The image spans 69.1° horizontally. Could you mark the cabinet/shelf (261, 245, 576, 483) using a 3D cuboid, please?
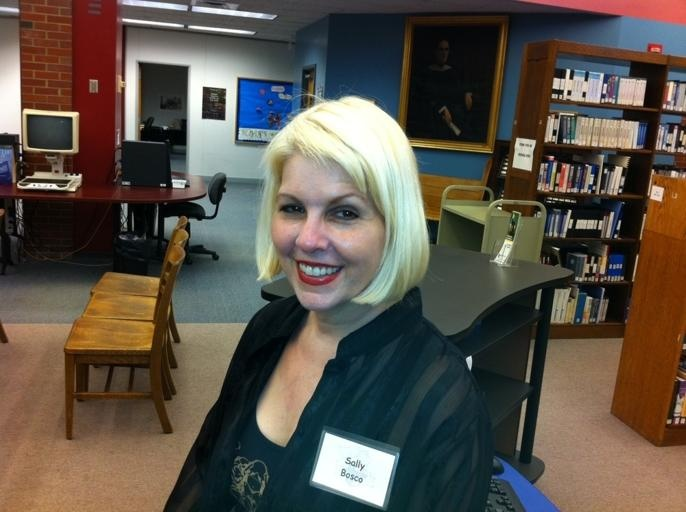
[{"bbox_3d":[0.454,0.751,3.071,1.343,1.460,1.643,12,20,38],"label":"cabinet/shelf"}]

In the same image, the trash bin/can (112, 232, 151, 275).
[{"bbox_3d":[-2.274,-0.041,5.600,0.419,0.458,0.404,7,15,10],"label":"trash bin/can"}]

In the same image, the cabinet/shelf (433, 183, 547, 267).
[{"bbox_3d":[1.418,-0.303,4.699,0.495,0.918,0.932,2,14,-15],"label":"cabinet/shelf"}]

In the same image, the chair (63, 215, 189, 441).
[{"bbox_3d":[-1.692,0.550,3.883,0.534,0.869,1.463,4,11,-9],"label":"chair"}]
